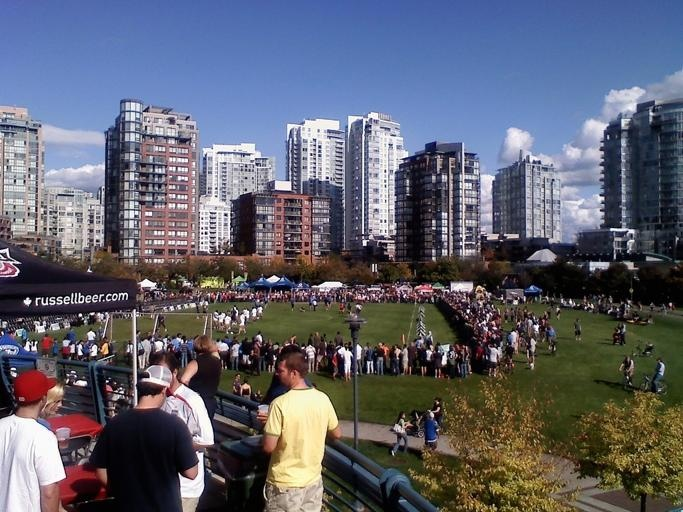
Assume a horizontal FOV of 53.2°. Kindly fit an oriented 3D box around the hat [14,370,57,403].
[{"bbox_3d":[-4.840,1.984,10.854,0.391,0.318,0.570,12,21,5],"label":"hat"}]

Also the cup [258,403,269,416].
[{"bbox_3d":[-1.299,2.522,11.297,0.155,0.121,0.158,0,-6,0],"label":"cup"}]

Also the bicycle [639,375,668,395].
[{"bbox_3d":[13.597,5.602,29.791,1.432,0.939,0.732,4,-7,-3],"label":"bicycle"}]

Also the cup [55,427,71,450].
[{"bbox_3d":[-5.181,3.405,12.700,0.353,0.382,0.366,4,6,0],"label":"cup"}]

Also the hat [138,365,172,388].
[{"bbox_3d":[-2.889,1.900,10.919,0.433,0.358,0.720,7,-9,-3],"label":"hat"}]

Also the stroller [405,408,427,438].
[{"bbox_3d":[2.597,5.928,24.315,0.935,0.988,0.706,2,-9,-4],"label":"stroller"}]
